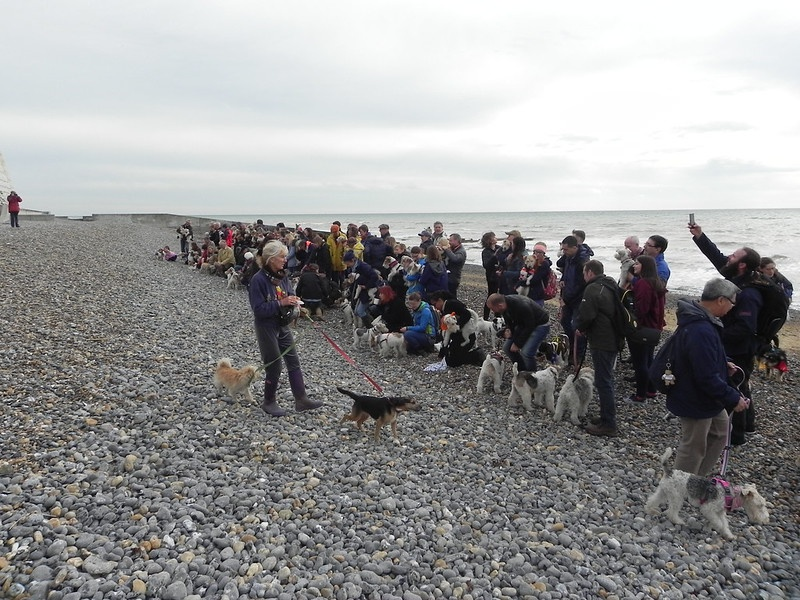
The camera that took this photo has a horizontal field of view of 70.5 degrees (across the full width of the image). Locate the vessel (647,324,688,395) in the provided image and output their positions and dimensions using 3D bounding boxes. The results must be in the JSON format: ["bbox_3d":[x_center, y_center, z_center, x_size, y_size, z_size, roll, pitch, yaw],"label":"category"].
[{"bbox_3d":[3.402,0.764,7.370,0.393,0.719,0.530,7,11,5],"label":"vessel"}]

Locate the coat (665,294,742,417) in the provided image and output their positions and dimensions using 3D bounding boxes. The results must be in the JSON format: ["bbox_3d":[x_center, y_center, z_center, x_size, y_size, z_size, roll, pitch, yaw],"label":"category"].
[{"bbox_3d":[3.796,0.789,7.110,0.859,1.486,0.474,6,15,28],"label":"coat"}]

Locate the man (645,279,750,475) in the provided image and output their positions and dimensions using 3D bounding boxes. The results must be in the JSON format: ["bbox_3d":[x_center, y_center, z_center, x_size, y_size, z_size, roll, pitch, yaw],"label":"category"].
[{"bbox_3d":[4.094,1.125,7.738,1.385,3.038,1.208,-10,37,13],"label":"man"}]

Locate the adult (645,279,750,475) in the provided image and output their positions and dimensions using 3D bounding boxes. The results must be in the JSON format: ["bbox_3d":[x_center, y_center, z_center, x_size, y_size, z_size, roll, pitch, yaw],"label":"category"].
[{"bbox_3d":[4.094,1.125,7.738,1.385,3.038,1.209,-10,37,13],"label":"adult"}]

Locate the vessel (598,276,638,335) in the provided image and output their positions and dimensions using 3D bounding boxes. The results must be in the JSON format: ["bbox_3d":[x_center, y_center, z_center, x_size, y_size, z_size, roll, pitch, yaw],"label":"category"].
[{"bbox_3d":[3.448,0.095,8.969,0.518,0.943,0.628,2,13,28],"label":"vessel"}]
